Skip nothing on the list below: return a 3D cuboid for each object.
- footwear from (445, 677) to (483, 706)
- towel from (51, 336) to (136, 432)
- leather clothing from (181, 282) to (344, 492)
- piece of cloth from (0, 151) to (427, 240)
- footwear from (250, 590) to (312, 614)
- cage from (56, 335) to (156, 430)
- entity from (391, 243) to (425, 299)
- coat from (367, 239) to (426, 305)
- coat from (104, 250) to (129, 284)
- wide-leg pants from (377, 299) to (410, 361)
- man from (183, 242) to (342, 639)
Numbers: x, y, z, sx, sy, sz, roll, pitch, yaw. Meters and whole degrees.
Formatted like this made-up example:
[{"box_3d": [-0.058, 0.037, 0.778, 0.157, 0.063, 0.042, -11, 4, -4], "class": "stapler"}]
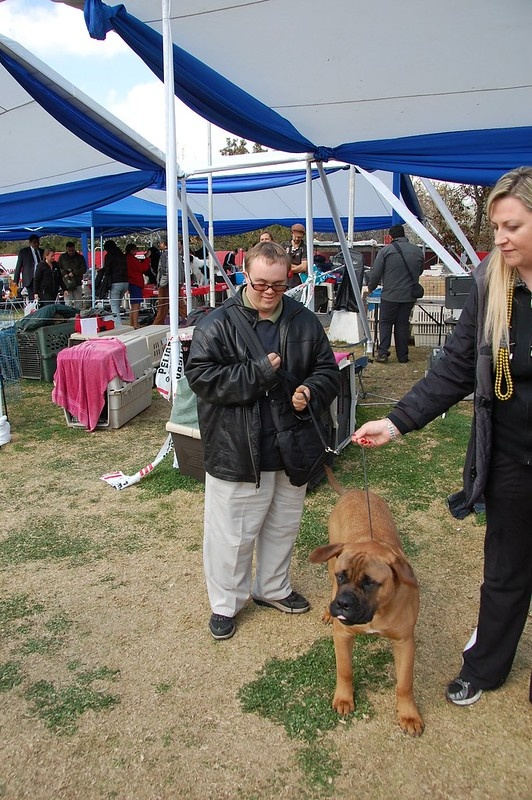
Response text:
[{"box_3d": [0.753, 1.130, 2.154, 0.159, 0.072, 0.065, 10, 2, -19], "class": "footwear"}, {"box_3d": [-1.721, -0.171, 6.205, 0.909, 1.042, 0.907, 0, 5, -6], "class": "towel"}, {"box_3d": [-0.004, -0.059, 2.486, 0.697, 0.810, 0.454, -5, 19, -13], "class": "leather clothing"}, {"box_3d": [-1.689, -5.532, 15.923, 6.343, 1.896, 7.020, 3, 20, 17], "class": "piece of cloth"}, {"box_3d": [0.079, 1.008, 2.863, 0.240, 0.114, 0.116, 0, 3, 19], "class": "footwear"}, {"box_3d": [-1.759, -0.268, 6.399, 0.757, 0.899, 1.185, 11, 18, 13], "class": "cage"}, {"box_3d": [2.119, -1.932, 8.345, 0.201, 0.879, 0.349, -21, 1, 10], "class": "entity"}, {"box_3d": [1.974, -1.992, 8.516, 0.791, 0.920, 0.601, -1, 12, 0], "class": "coat"}, {"box_3d": [-3.119, -2.768, 11.568, 0.557, 0.759, 0.463, -10, 24, -28], "class": "coat"}, {"box_3d": [2.012, -1.194, 8.750, 0.519, 1.131, 0.358, 7, -10, -3], "class": "wide-leg pants"}, {"box_3d": [0.034, 0.221, 2.511, 0.675, 1.749, 0.593, -4, 14, -20], "class": "man"}]
